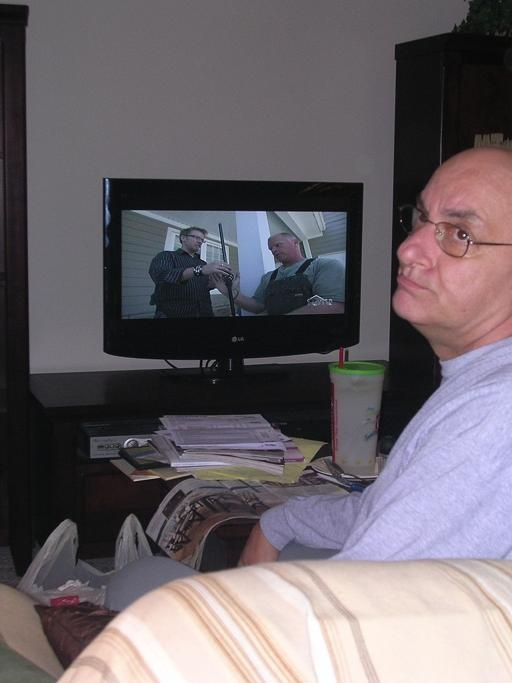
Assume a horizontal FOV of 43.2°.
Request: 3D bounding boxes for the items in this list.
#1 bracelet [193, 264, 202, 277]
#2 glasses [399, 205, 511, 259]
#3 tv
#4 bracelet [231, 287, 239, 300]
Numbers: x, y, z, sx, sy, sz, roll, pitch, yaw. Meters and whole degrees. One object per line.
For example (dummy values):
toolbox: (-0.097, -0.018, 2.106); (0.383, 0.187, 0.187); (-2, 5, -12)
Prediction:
bracelet: (-0.213, -0.258, 2.347); (0.033, 0.036, 0.017); (2, 6, -10)
glasses: (0.227, -0.122, 0.722); (0.094, 0.024, 0.086); (-1, 23, -32)
tv: (-0.092, -0.236, 2.354); (0.975, 0.582, 0.117); (1, 8, -12)
bracelet: (-0.076, -0.181, 2.397); (0.034, 0.037, 0.011); (0, 5, -5)
